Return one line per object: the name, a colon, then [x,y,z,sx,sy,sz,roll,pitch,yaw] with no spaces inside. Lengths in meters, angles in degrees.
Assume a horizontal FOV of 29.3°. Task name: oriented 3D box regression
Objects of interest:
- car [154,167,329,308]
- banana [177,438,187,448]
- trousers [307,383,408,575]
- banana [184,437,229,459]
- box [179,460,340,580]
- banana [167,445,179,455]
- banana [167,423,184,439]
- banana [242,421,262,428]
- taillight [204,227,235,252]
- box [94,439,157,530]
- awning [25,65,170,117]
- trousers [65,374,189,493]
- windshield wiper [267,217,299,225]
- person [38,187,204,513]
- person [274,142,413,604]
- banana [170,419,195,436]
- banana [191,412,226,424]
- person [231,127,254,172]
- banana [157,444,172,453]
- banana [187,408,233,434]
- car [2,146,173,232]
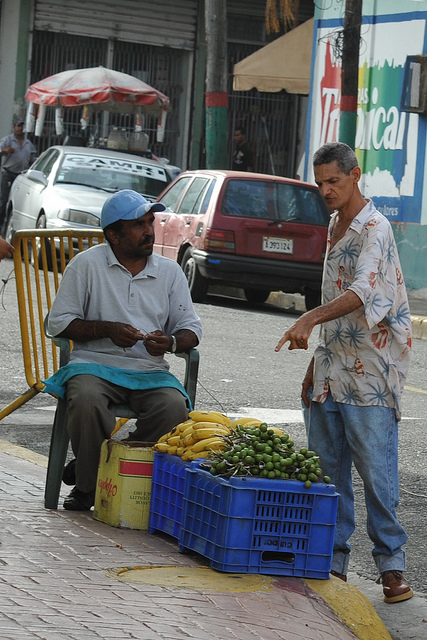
car: [0.285,-1.343,12.499,1.862,1.311,2.894,0,12,-21]
banana: [-0.119,0.462,3.084,0.031,0.029,0.023,-4,1,36]
trousers: [0.554,0.524,3.207,0.428,0.945,0.244,8,14,31]
banana: [-0.027,0.455,2.964,0.139,0.037,0.072,-20,30,21]
box: [0.144,0.692,2.829,0.421,0.273,0.516,9,-8,-19]
banana: [-0.153,0.490,3.108,0.044,0.021,0.017,-36,12,22]
banana: [-0.157,0.448,3.324,0.083,0.028,0.017,-40,57,-21]
banana: [0.156,0.415,3.270,0.065,0.017,0.060,-1,-1,3]
taillight: [0.090,-1.140,11.605,0.389,0.209,0.365,5,2,1]
box: [-0.305,0.658,3.372,0.314,0.318,0.361,6,-1,-26]
awning: [-2.742,-5.534,19.468,3.155,0.856,2.863,-4,20,-16]
trousers: [-0.437,0.442,3.684,0.647,0.439,0.491,1,-4,-25]
windshield wiper: [1.031,-1.464,11.981,0.640,0.064,0.093,-13,44,-37]
person: [-0.417,0.109,3.665,0.726,1.403,0.654,8,-2,-1]
person: [0.466,0.199,3.200,0.730,1.697,0.714,1,-1,-12]
banana: [-0.119,0.423,3.281,0.041,0.054,0.174,3,-14,-29]
banana: [-0.022,0.396,3.329,0.181,0.056,0.041,1,-16,10]
person: [0.689,-3.929,18.822,0.531,1.024,1.250,8,-2,1]
banana: [-0.195,0.489,3.141,0.039,0.019,0.029,2,6,33]
banana: [-0.015,0.403,3.278,0.129,0.031,0.076,14,11,35]
car: [-2.258,-2.299,14.145,2.356,1.441,3.609,1,1,-26]
